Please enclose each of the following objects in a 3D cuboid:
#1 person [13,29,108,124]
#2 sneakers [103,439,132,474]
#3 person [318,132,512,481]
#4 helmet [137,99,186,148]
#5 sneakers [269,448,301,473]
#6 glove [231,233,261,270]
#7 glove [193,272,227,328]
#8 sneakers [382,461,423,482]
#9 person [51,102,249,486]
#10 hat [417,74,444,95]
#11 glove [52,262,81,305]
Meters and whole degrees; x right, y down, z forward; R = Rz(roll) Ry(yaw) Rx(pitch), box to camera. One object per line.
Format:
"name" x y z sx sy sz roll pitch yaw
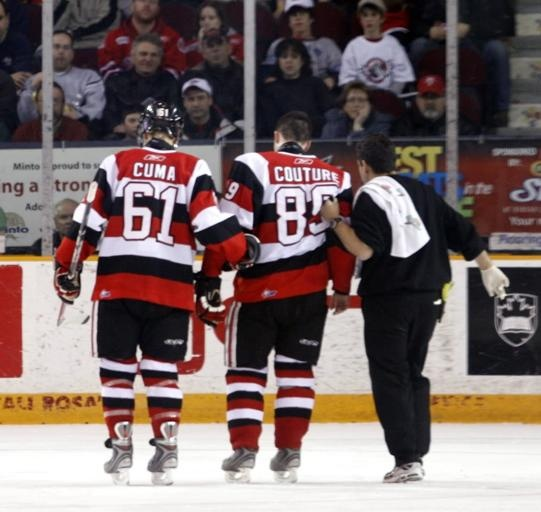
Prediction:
"person" -1.446 -1.196 9.426 0.647 0.669 0.420 0 13 -10
"sneakers" -0.818 1.074 7.277 0.123 0.209 0.239 9 -19 -32
"person" 0.658 0.256 7.378 0.694 1.798 0.680 8 10 33
"helmet" -0.600 -0.725 7.572 0.257 0.253 0.285 3 0 -8
"sneakers" 0.083 1.089 7.305 0.169 0.130 0.103 0 8 -14
"glove" -0.127 -0.014 7.307 0.149 0.166 0.074 5 3 33
"glove" -0.333 0.239 7.498 0.182 0.253 0.119 0 -2 -17
"sneakers" 0.700 1.125 7.125 0.262 0.107 0.079 -2 -15 7
"person" -0.642 0.310 7.266 0.987 1.734 0.514 1 9 -7
"hat" 1.069 -1.149 9.240 0.209 0.128 0.311 -1 -1 12
"glove" -1.110 0.155 7.470 0.156 0.223 0.121 -2 26 -2
